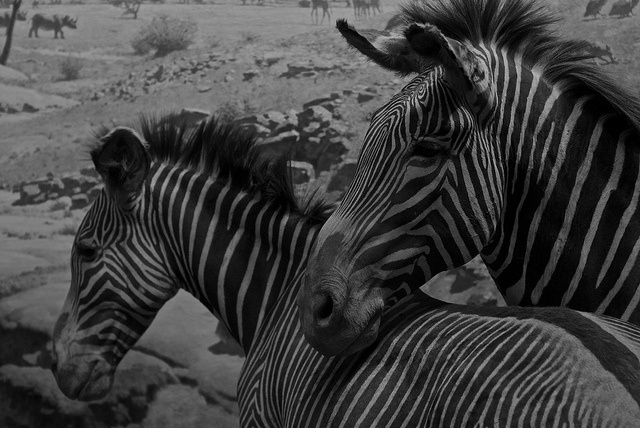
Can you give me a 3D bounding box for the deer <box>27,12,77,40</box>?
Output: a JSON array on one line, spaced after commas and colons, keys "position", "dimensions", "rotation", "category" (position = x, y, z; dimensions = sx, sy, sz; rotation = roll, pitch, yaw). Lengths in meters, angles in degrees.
[{"position": [-1.609, -1.127, 3.872], "dimensions": [0.273, 0.126, 0.098], "rotation": [2, 20, -5], "category": "deer"}]
